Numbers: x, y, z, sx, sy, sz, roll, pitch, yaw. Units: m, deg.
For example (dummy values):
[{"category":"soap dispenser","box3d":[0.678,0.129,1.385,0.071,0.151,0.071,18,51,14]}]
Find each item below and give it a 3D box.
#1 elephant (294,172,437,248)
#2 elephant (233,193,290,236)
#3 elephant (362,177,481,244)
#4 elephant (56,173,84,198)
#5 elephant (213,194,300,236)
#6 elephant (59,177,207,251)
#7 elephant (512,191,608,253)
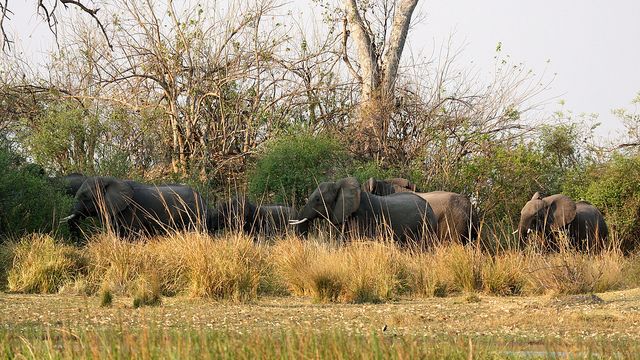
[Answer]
[{"category":"elephant","box3d":[1.320,0.818,19.155,4.259,2.418,1.970,8,-8,0]},{"category":"elephant","box3d":[-1.947,1.177,20.627,1.777,1.353,2.489,3,-9,-18]},{"category":"elephant","box3d":[3.165,0.872,19.713,3.354,2.015,2.004,7,5,19]},{"category":"elephant","box3d":[-8.198,0.108,21.115,1.304,0.773,0.616,2,2,21]},{"category":"elephant","box3d":[-2.158,1.204,20.821,2.865,1.601,1.232,5,-2,-1]},{"category":"elephant","box3d":[-5.786,1.230,20.231,5.116,2.657,1.884,4,-3,-26]},{"category":"elephant","box3d":[8.477,1.355,22.116,3.813,2.227,2.204,5,-7,-23]}]
